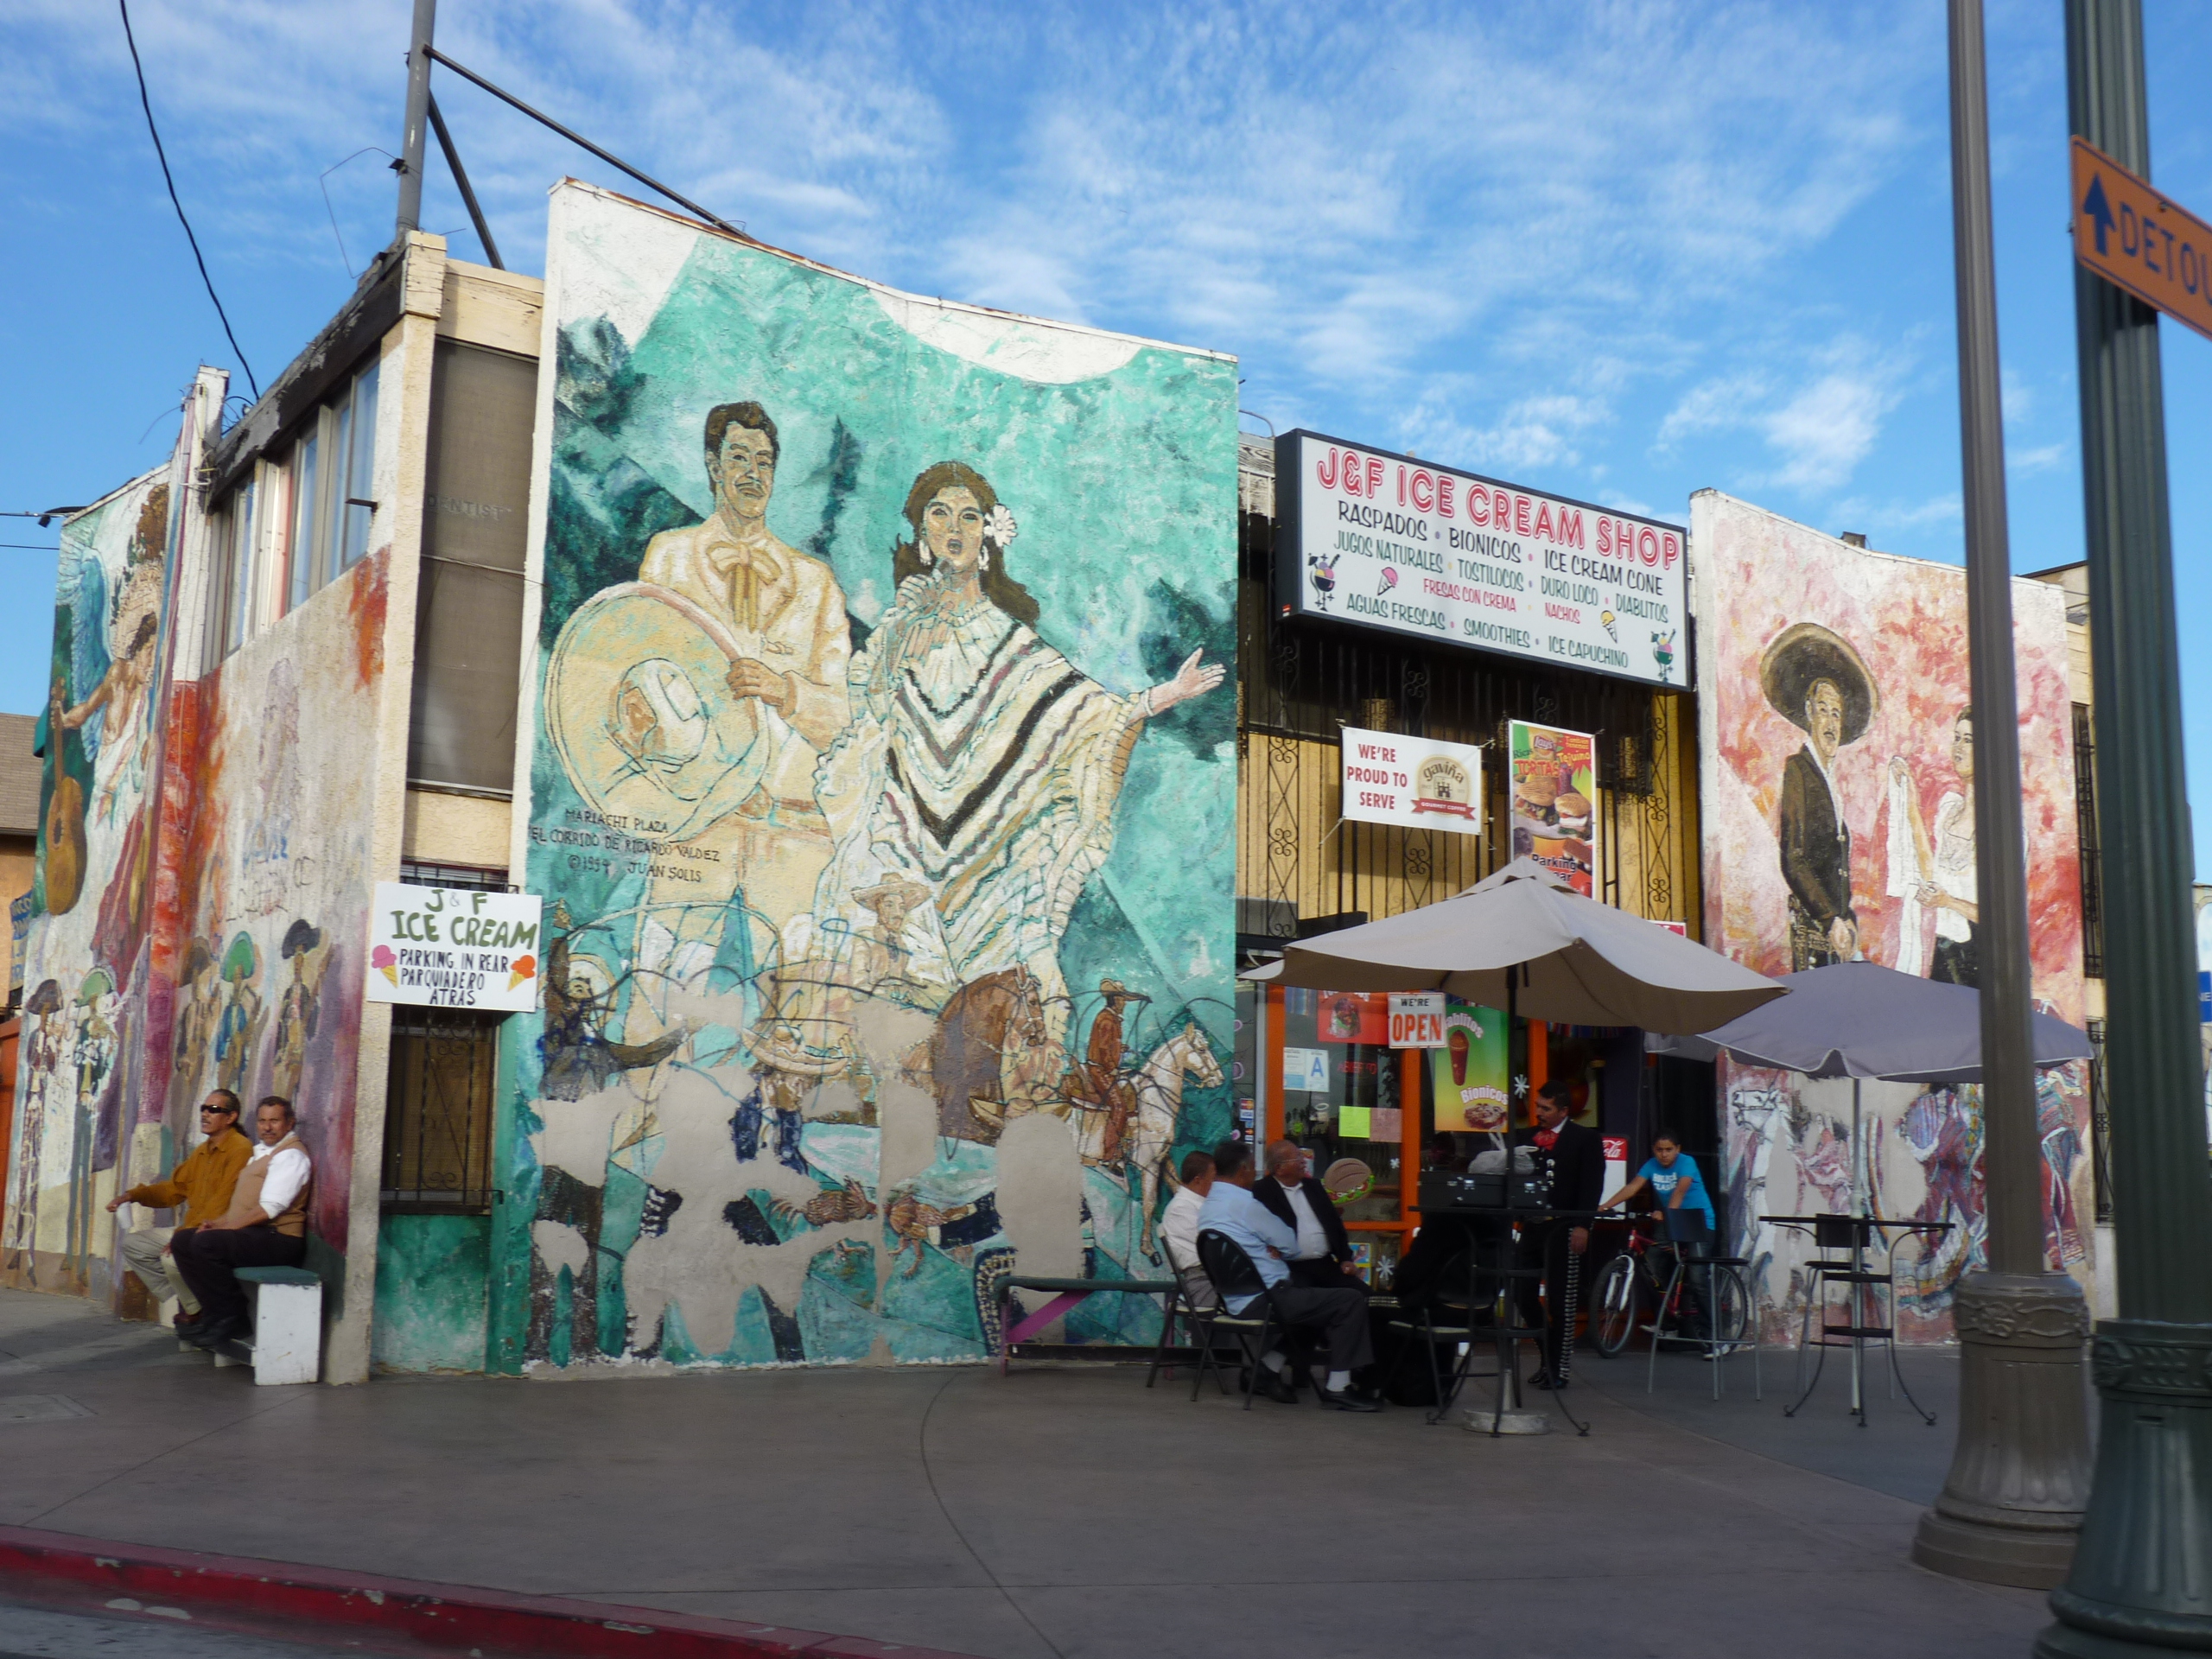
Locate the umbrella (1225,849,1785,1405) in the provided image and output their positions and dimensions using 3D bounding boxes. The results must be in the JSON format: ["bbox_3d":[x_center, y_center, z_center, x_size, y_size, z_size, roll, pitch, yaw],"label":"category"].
[{"bbox_3d":[2.605,2.002,13.365,3.147,3.181,3.352,-1,1,-13],"label":"umbrella"}]

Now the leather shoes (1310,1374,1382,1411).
[{"bbox_3d":[1.576,3.719,13.114,0.402,0.197,0.193,-2,-3,7],"label":"leather shoes"}]

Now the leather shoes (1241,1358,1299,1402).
[{"bbox_3d":[1.097,3.714,13.426,0.177,0.248,0.559,-1,1,23],"label":"leather shoes"}]

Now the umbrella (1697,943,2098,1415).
[{"bbox_3d":[5.708,2.333,14.455,2.414,3.062,2.904,-3,-5,29],"label":"umbrella"}]

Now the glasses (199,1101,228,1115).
[{"bbox_3d":[-6.614,2.066,14.782,0.152,0.050,0.159,-1,-13,43],"label":"glasses"}]
